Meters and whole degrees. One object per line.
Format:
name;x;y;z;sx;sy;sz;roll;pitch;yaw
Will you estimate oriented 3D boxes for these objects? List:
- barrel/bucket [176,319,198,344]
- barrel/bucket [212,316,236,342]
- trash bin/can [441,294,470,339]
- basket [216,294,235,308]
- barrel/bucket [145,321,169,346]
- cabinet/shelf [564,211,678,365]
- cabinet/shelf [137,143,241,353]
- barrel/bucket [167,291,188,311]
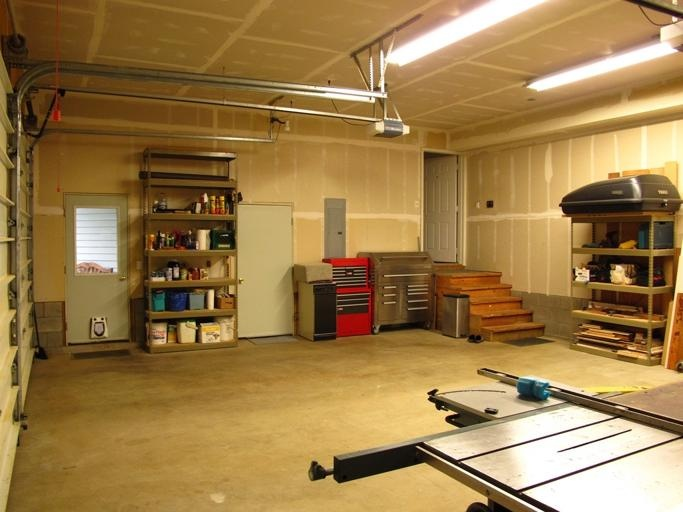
barrel/bucket;-2.285;1.114;7.883;0.353;0.376;0.349;-1;-7;0
barrel/bucket;-1.751;1.077;8.112;0.415;0.436;0.359;1;-3;-32
trash bin/can;1.885;0.962;8.816;0.454;0.699;0.298;2;7;14
basket;-1.765;0.661;8.149;0.260;0.126;0.242;0;0;-32
barrel/bucket;-2.675;1.108;7.792;0.389;0.337;0.352;-1;-2;16
cabinet/shelf;3.978;0.356;7.656;0.874;2.010;1.665;-4;8;-31
cabinet/shelf;-2.078;-0.518;8.129;1.649;2.790;0.647;1;-9;-20
barrel/bucket;-2.396;0.645;7.759;0.319;0.264;0.289;2;-5;-41
